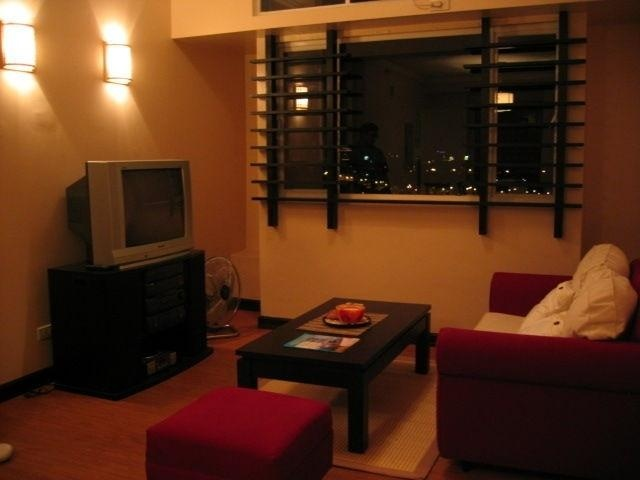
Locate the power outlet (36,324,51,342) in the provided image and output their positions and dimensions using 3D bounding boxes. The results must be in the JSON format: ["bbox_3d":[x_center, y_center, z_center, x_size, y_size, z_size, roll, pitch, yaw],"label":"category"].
[{"bbox_3d":[-2.099,0.710,4.160,0.083,0.044,0.112,0,13,9],"label":"power outlet"}]

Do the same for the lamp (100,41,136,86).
[{"bbox_3d":[-1.706,-1.526,4.735,0.185,0.351,0.353,4,12,22],"label":"lamp"}]

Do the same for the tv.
[{"bbox_3d":[-1.561,-0.222,4.398,0.651,0.790,0.939,2,7,21],"label":"tv"}]

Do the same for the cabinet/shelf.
[{"bbox_3d":[-1.480,0.650,4.515,0.689,0.941,1.171,2,5,24],"label":"cabinet/shelf"}]
